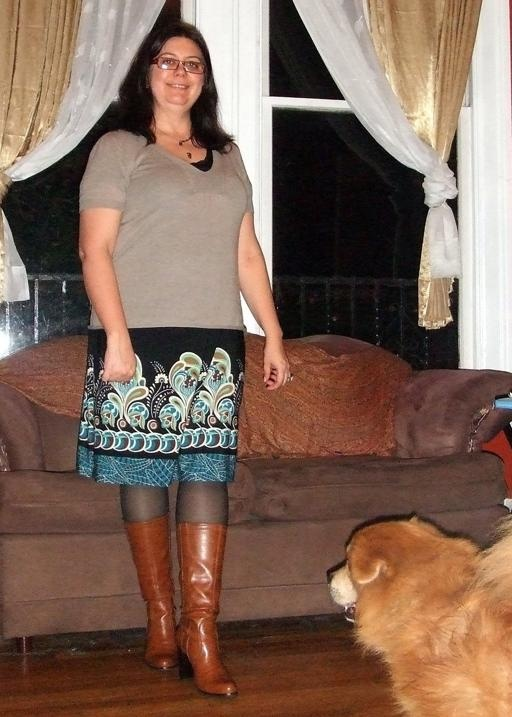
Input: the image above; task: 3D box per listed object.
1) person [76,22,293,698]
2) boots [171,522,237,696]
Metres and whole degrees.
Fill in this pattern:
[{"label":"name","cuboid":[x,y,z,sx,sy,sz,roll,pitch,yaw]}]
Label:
[{"label":"person","cuboid":[-0.139,-0.024,1.532,0.452,1.364,0.330,1,-7,-9]},{"label":"boots","cuboid":[-0.110,0.489,1.453,0.085,0.329,0.135,5,-9,-38]}]
